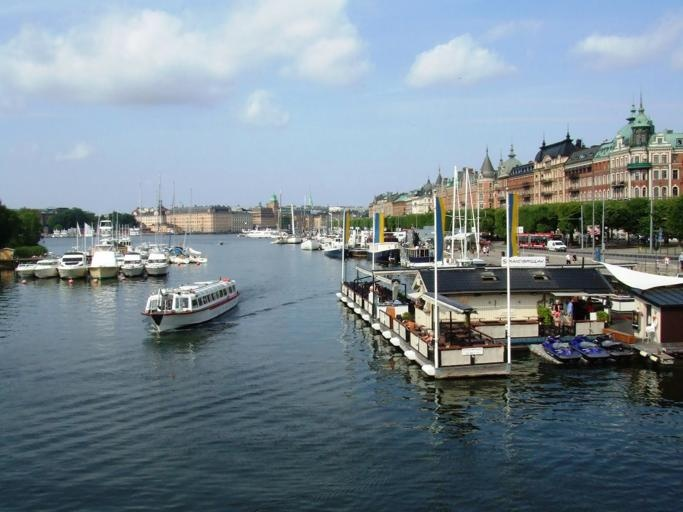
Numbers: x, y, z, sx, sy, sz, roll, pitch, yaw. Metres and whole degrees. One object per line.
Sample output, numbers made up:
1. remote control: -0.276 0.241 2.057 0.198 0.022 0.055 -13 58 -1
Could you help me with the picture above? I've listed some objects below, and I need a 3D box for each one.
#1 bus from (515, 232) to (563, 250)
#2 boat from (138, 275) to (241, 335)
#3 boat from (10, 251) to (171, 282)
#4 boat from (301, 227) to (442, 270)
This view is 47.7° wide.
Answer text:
1. bus: 32.202 -2.473 131.318 2.998 2.524 9.802 -1 2 -12
2. boat: -12.715 4.208 66.185 3.139 2.637 11.462 -1 3 15
3. boat: -38.516 2.178 110.073 17.265 4.414 10.722 -1 4 -12
4. boat: 7.692 -0.548 134.078 6.271 5.222 36.438 1 1 -13
